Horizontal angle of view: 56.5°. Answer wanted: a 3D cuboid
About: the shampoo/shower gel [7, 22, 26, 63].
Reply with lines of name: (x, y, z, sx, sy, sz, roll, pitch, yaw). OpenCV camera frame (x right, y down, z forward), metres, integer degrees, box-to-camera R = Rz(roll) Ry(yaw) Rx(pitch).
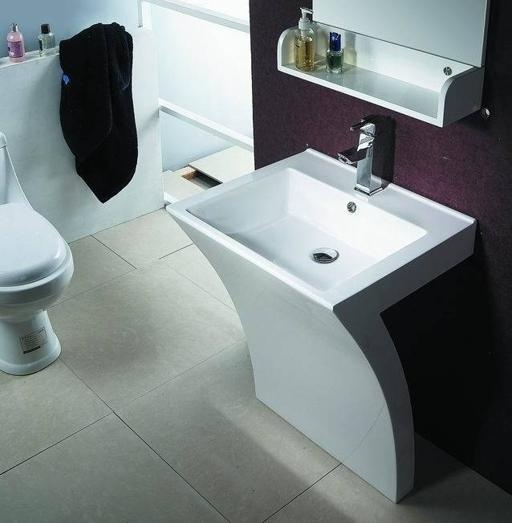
shampoo/shower gel: (-1.081, -0.978, 2.123, 0.075, 0.131, 0.187, -17, 35, -22)

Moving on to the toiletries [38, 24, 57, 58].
toiletries: (-0.978, -1.036, 2.208, 0.075, 0.112, 0.196, -14, 35, -17)

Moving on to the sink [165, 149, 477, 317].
sink: (0.147, -0.040, 1.242, 0.580, 0.203, 0.615, -25, 40, -28)

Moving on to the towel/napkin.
towel/napkin: (-0.748, -0.690, 2.313, 0.376, 0.913, 0.169, -24, 50, -38)

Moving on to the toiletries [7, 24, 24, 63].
toiletries: (-1.081, -0.978, 2.123, 0.075, 0.131, 0.187, -17, 35, -22)

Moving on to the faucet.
faucet: (0.268, -0.264, 1.233, 0.123, 0.206, 0.057, -22, 37, -22)
